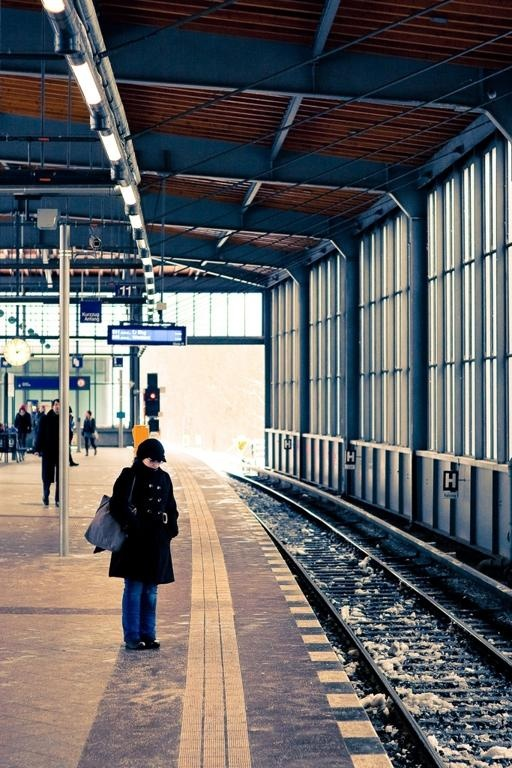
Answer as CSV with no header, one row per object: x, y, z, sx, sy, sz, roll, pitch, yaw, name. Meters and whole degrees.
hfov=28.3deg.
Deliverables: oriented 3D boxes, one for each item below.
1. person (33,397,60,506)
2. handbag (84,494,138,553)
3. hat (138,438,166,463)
-3.281,1.063,16.044,0.294,1.577,0.461,0,-2,42,person
-0.973,0.910,6.700,0.123,0.359,0.336,-6,4,10,handbag
-0.688,0.435,6.631,0.129,0.130,0.181,6,15,-35,hat
